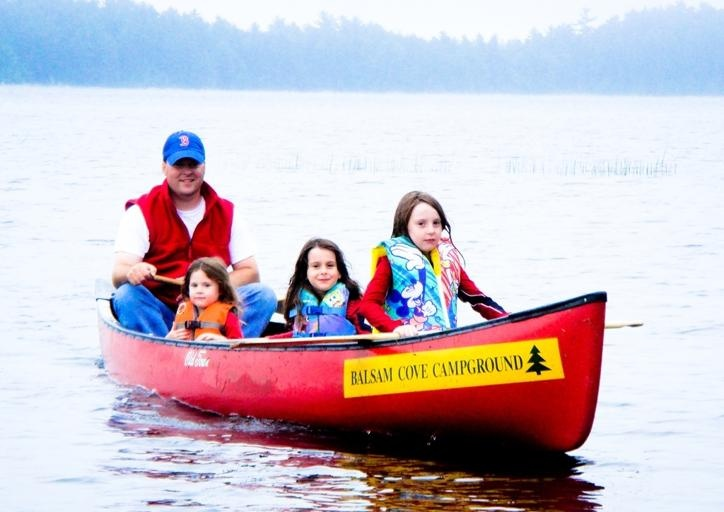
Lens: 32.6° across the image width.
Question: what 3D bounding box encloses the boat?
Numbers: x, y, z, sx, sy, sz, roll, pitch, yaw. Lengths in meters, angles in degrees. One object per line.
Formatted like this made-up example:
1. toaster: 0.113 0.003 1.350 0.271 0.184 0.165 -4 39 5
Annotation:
1. boat: -0.348 0.915 10.486 4.696 1.044 1.340 1 4 35

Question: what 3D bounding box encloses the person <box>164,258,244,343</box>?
1. person: -1.372 0.409 10.885 0.717 0.742 0.502 2 -1 19
